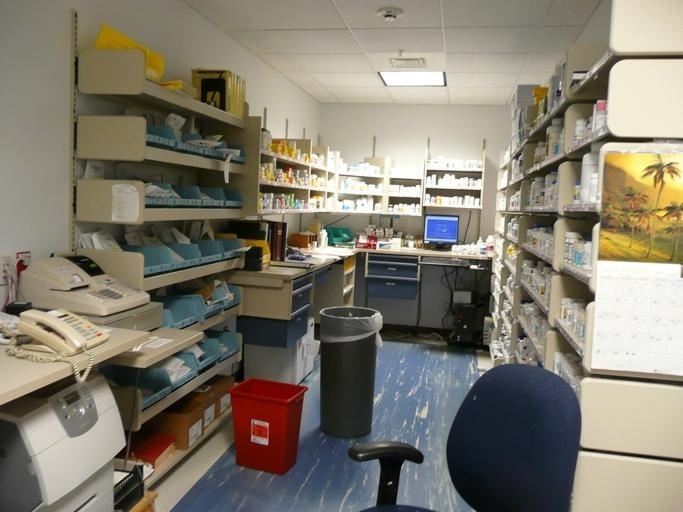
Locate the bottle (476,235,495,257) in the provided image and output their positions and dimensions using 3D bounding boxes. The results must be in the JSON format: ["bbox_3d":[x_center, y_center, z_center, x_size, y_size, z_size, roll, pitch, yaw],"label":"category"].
[{"bbox_3d":[1.794,-0.145,6.034,0.232,0.464,0.254,0,5,0],"label":"bottle"}]

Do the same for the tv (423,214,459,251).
[{"bbox_3d":[1.304,-0.318,6.271,0.439,0.479,0.159,1,3,10],"label":"tv"}]

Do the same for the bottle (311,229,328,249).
[{"bbox_3d":[-0.247,-0.216,6.086,0.210,0.228,0.147,4,3,29],"label":"bottle"}]

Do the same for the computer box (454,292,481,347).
[{"bbox_3d":[1.482,0.738,5.844,0.308,0.538,0.414,-7,-1,40],"label":"computer box"}]

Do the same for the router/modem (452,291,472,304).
[{"bbox_3d":[1.471,0.499,5.813,0.248,0.145,0.181,4,-7,4],"label":"router/modem"}]

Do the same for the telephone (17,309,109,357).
[{"bbox_3d":[-1.216,0.316,2.106,0.273,0.112,0.298,16,3,0],"label":"telephone"}]
